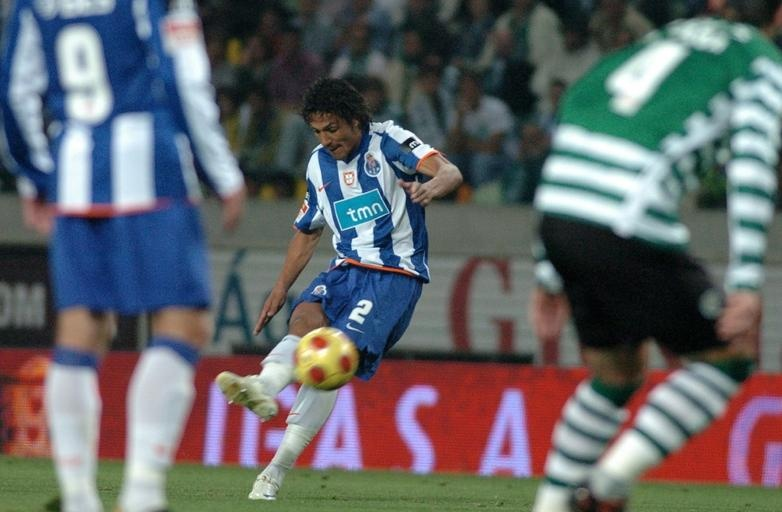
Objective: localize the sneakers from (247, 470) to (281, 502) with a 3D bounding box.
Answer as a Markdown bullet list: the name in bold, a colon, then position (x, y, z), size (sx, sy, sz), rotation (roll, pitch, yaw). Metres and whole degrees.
- **sneakers**: position (-0.691, 1.284, 7.696), size (0.104, 0.084, 0.201), rotation (14, 11, 4)

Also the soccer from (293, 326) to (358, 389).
- **soccer**: position (-0.336, 0.541, 7.428), size (0.324, 0.308, 0.323), rotation (-24, -3, -4)

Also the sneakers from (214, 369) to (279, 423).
- **sneakers**: position (-0.791, 0.787, 7.641), size (0.406, 0.151, 0.234), rotation (42, 19, 3)
